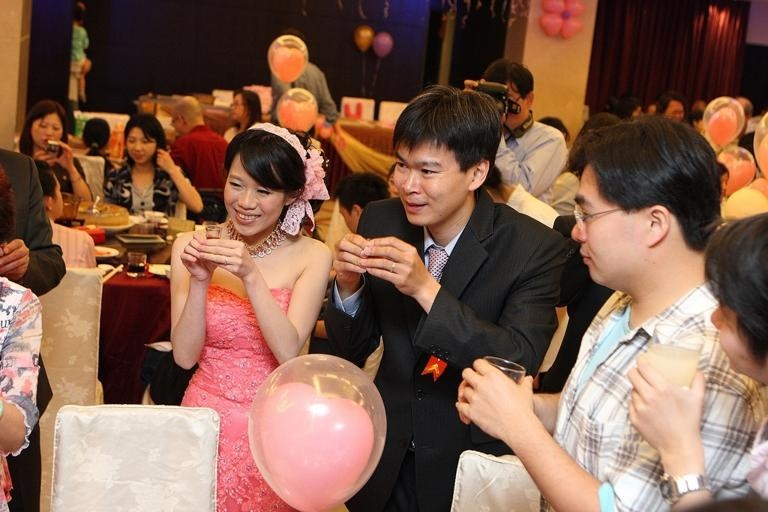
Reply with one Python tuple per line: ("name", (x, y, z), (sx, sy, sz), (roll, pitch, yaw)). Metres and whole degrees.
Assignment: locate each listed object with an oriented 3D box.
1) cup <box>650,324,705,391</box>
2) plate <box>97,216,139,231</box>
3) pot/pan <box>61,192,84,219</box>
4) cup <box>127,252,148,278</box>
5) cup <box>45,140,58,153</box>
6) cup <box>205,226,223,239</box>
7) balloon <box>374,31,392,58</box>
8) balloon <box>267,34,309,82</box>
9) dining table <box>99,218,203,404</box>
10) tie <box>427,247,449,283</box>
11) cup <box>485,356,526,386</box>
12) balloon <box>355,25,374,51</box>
("cup", (0.686, 0.230, 1.368), (0.115, 0.103, 0.190), (11, 11, 26))
("plate", (-1.890, -0.219, 4.139), (0.161, 0.041, 0.165), (-2, 18, -15))
("pot/pan", (-2.127, -0.346, 3.965), (0.136, 0.117, 0.159), (1, -4, -1))
("cup", (-1.445, 0.053, 3.367), (0.114, 0.140, 0.141), (6, 2, -6))
("cup", (-2.392, -0.790, 4.198), (0.090, 0.090, 0.088), (1, -3, 0))
("cup", (-0.583, -0.081, 1.977), (0.047, 0.047, 0.038), (13, 11, 17))
("balloon", (-0.025, -3.635, 9.959), (0.354, 0.471, 0.366), (1, 14, -4))
("balloon", (-1.043, -2.139, 6.263), (0.423, 0.521, 0.433), (3, 25, 7))
("dining table", (-1.327, 0.401, 3.526), (0.712, 0.714, 0.580), (1, 14, -12))
("tie", (0.200, 0.033, 2.124), (0.085, 0.116, 0.030), (15, 12, 30))
("cup", (0.323, 0.301, 1.556), (0.074, 0.058, 0.076), (26, 0, 0))
("balloon", (-0.329, -3.746, 9.920), (0.363, 0.500, 0.374), (1, 20, 8))
